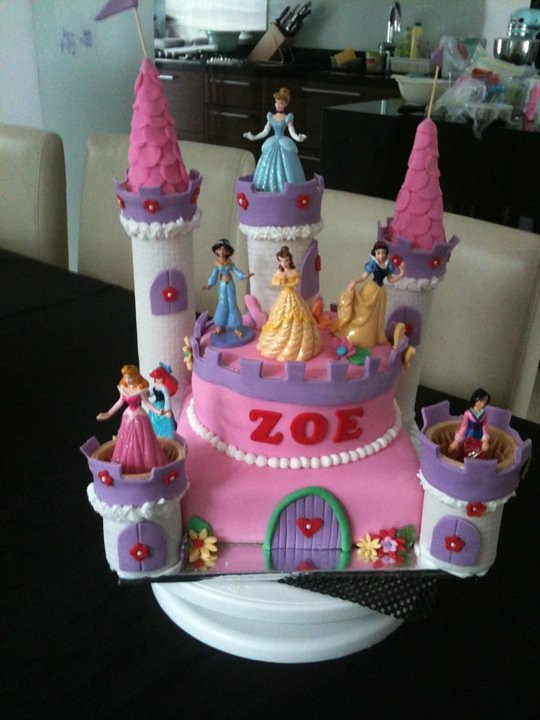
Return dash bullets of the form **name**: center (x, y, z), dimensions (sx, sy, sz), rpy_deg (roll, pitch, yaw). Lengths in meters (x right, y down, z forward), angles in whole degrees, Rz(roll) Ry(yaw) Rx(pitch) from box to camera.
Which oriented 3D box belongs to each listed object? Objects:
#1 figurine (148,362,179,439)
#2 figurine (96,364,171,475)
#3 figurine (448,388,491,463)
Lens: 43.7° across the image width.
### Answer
- **figurine**: center (-0.131, 0.054, 0.837), dimensions (0.038, 0.091, 0.053), rpy_deg (-10, 34, -18)
- **figurine**: center (-0.137, 0.060, 0.700), dimensions (0.064, 0.109, 0.059), rpy_deg (3, 15, 12)
- **figurine**: center (0.215, 0.070, 0.707), dimensions (0.036, 0.069, 0.061), rpy_deg (16, 27, 30)
